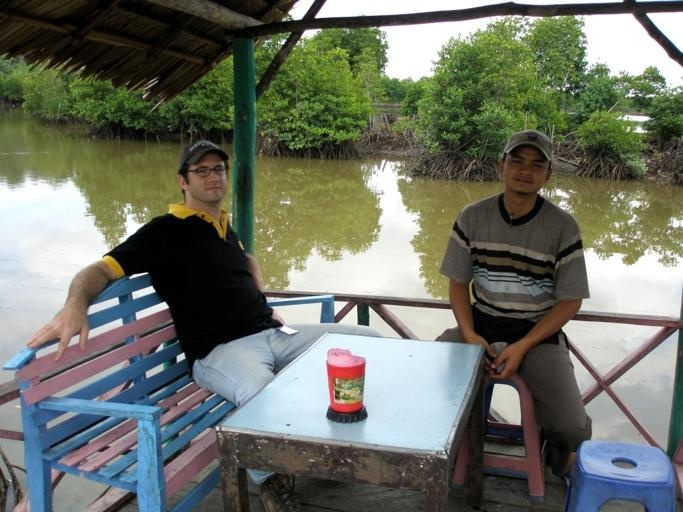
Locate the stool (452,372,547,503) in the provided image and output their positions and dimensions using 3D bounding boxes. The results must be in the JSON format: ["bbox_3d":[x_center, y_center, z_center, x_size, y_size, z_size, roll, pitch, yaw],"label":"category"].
[{"bbox_3d":[1.016,1.011,3.158,0.573,0.770,0.635,1,2,24],"label":"stool"}]
